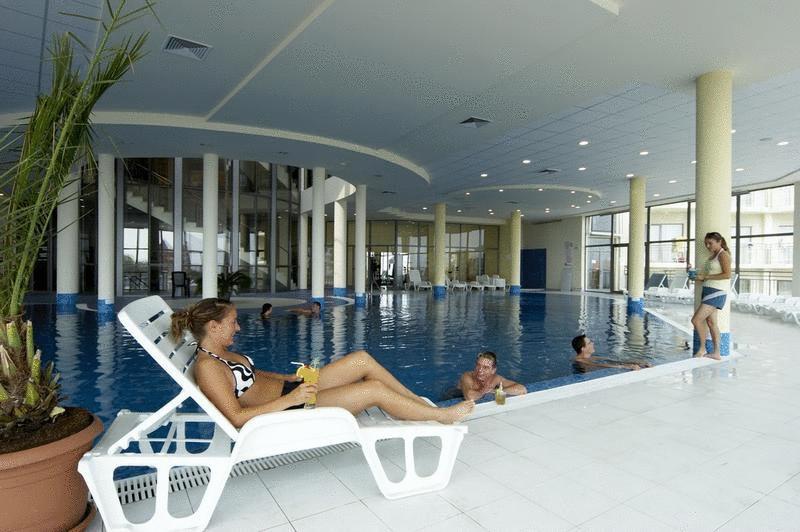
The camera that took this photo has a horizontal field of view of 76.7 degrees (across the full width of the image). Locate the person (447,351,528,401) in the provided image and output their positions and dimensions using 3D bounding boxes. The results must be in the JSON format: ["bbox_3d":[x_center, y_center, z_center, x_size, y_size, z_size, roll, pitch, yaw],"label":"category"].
[{"bbox_3d":[1.096,1.304,6.025,0.780,0.460,1.138,-2,10,8],"label":"person"}]

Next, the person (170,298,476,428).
[{"bbox_3d":[-0.587,0.813,4.149,2.469,0.980,1.008,2,-1,-13],"label":"person"}]

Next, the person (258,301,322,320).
[{"bbox_3d":[-2.744,1.165,12.841,1.497,0.401,0.623,3,22,-23],"label":"person"}]

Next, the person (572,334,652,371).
[{"bbox_3d":[3.118,1.305,7.458,1.139,0.481,0.479,1,11,17],"label":"person"}]

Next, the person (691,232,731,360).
[{"bbox_3d":[4.474,0.406,7.291,0.475,1.779,0.572,-1,2,28],"label":"person"}]

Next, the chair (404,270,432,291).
[{"bbox_3d":[0.950,0.767,26.258,1.281,0.732,1.165,-1,0,-7],"label":"chair"}]
